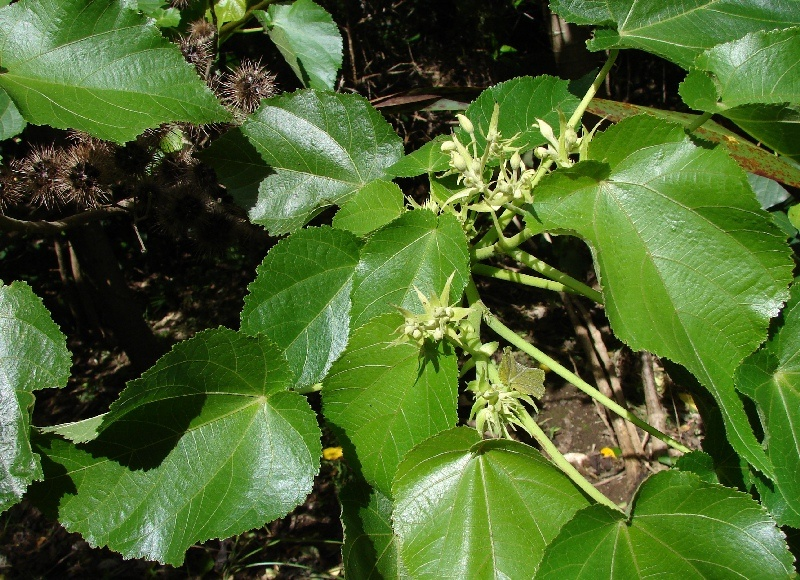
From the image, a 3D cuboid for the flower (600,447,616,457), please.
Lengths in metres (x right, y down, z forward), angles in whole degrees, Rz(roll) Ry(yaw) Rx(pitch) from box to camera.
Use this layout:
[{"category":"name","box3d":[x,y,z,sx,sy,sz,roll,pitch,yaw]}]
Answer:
[{"category":"flower","box3d":[0.870,0.676,3.136,0.068,0.034,0.030,9,47,15]}]
